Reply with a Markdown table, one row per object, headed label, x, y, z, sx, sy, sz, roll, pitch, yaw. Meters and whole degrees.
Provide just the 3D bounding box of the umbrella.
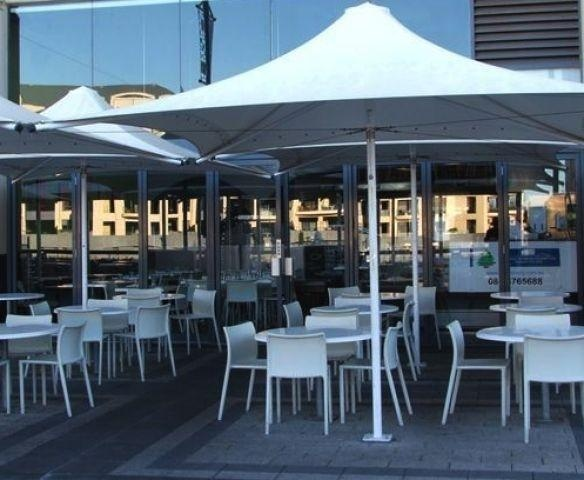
| label | x | y | z | sx | sy | sz | roll | pitch | yaw |
| --- | --- | --- | --- | --- | --- | --- | --- | --- | --- |
| umbrella | 0.302 | -0.235 | 11.222 | 5.121 | 3.115 | 4.694 | 0 | -3 | -14 |
